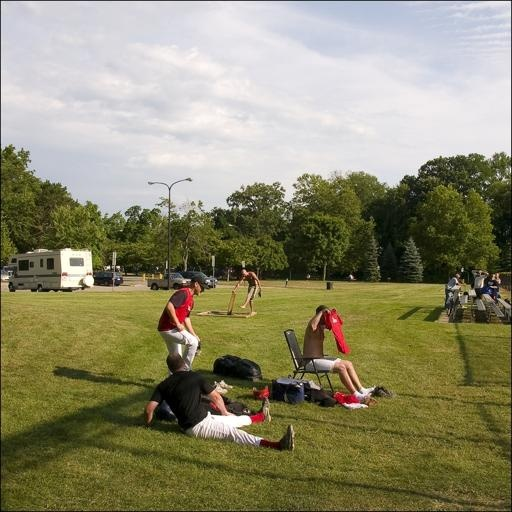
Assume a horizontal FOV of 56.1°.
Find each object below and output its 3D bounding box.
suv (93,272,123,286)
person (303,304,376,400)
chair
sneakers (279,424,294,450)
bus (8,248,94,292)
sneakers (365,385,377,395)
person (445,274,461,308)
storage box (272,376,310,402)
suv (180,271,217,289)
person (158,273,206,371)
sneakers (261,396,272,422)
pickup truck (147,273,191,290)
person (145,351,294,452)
[{"bbox_3d":[-15.838,2.395,51.056,3.032,1.155,1.474,3,1,22],"label":"suv"},{"bbox_3d":[1.426,1.626,8.234,1.231,1.543,0.844,0,-2,32],"label":"person"},{"bbox_3d":[0.898,1.990,8.646,0.870,1.197,0.750,11,0,17],"label":"chair"},{"bbox_3d":[0.374,2.194,5.859,0.169,0.351,0.214,2,2,8],"label":"sneakers"},{"bbox_3d":[-15.538,1.099,35.785,8.321,3.352,2.705,2,2,38],"label":"bus"},{"bbox_3d":[1.932,2.278,8.088,0.092,0.136,0.401,2,1,28],"label":"sneakers"},{"bbox_3d":[9.612,1.681,23.347,0.578,0.733,1.550,-12,-19,1],"label":"person"},{"bbox_3d":[0.564,2.219,7.994,0.368,0.234,0.385,-3,-4,29],"label":"storage box"},{"bbox_3d":[-3.820,1.465,30.822,2.916,1.463,1.518,-2,0,24],"label":"suv"},{"bbox_3d":[-1.914,1.599,12.410,1.391,3.332,1.081,-1,13,-15],"label":"person"},{"bbox_3d":[0.153,2.207,7.012,0.149,0.356,0.112,6,-12,-24],"label":"sneakers"},{"bbox_3d":[-8.245,2.477,45.357,3.326,1.597,1.877,-3,-2,18],"label":"pickup truck"},{"bbox_3d":[-0.432,1.904,6.377,1.595,0.873,1.148,12,15,3],"label":"person"}]
